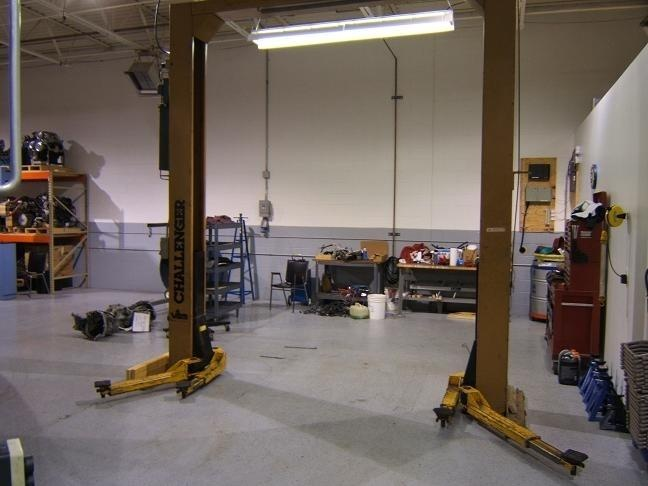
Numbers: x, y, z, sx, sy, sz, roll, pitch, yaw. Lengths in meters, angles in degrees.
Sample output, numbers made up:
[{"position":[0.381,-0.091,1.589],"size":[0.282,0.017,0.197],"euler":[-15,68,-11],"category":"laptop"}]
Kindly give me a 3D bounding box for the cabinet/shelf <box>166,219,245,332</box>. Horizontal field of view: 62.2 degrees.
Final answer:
[{"position":[-1.604,0.483,7.238],"size":[0.508,1.632,1.624],"euler":[1,2,4],"category":"cabinet/shelf"}]

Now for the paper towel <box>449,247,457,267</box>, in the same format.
[{"position":[2.161,0.247,8.945],"size":[0.137,0.276,0.228],"euler":[2,8,13],"category":"paper towel"}]

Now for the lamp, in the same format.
[{"position":[0.302,-2.625,6.646],"size":[2.504,0.286,0.398],"euler":[3,9,17],"category":"lamp"}]

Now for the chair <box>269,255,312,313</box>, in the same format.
[{"position":[-0.777,0.778,10.054],"size":[0.802,1.236,0.827],"euler":[1,0,32],"category":"chair"}]

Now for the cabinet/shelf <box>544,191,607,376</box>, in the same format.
[{"position":[3.087,0.576,6.543],"size":[0.625,2.311,2.182],"euler":[1,3,22],"category":"cabinet/shelf"}]

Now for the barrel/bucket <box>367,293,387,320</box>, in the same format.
[{"position":[0.867,1.065,8.874],"size":[0.342,0.403,0.364],"euler":[1,-1,0],"category":"barrel/bucket"}]

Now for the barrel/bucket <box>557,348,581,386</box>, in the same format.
[{"position":[2.747,1.404,6.087],"size":[0.270,0.514,0.489],"euler":[1,1,20],"category":"barrel/bucket"}]

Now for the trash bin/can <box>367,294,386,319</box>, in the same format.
[{"position":[0.847,1.057,8.904],"size":[0.335,0.395,0.356],"euler":[1,0,-1],"category":"trash bin/can"}]
